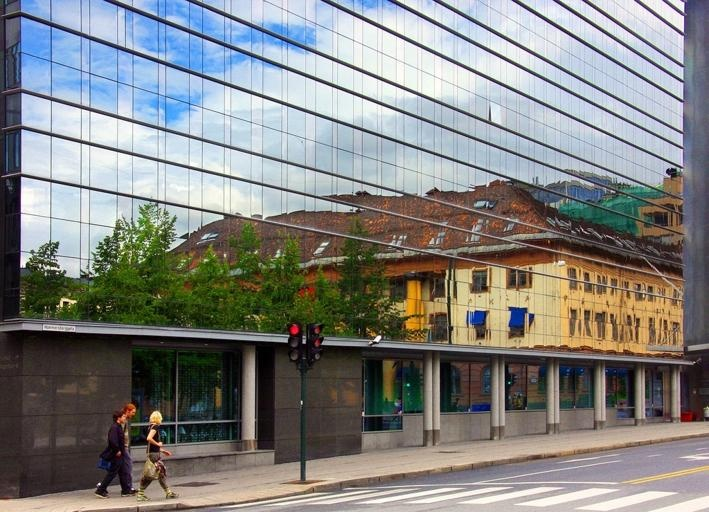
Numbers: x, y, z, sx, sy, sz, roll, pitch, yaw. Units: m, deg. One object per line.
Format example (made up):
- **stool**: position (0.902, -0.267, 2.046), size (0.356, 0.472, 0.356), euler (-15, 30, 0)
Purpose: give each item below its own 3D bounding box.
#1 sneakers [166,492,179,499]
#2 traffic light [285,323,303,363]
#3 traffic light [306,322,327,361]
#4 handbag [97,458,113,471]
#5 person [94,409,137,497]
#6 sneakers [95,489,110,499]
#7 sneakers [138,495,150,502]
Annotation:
- **sneakers**: position (-6.195, 8.113, 34.302), size (0.456, 0.191, 0.148), euler (3, -3, -32)
- **traffic light**: position (-2.159, 3.189, 37.034), size (0.478, 1.475, 1.054), euler (-2, -10, -6)
- **traffic light**: position (-1.476, 3.169, 37.265), size (0.618, 1.527, 0.972), euler (-2, -10, -4)
- **handbag**: position (-8.530, 7.063, 34.481), size (0.539, 0.454, 0.301), euler (-4, -10, 7)
- **person**: position (-8.208, 6.725, 34.882), size (1.142, 2.994, 1.213), euler (0, -10, -14)
- **sneakers**: position (-8.653, 8.128, 34.616), size (0.540, 0.243, 0.197), euler (7, 0, 0)
- **sneakers**: position (-7.035, 8.089, 33.878), size (0.440, 0.183, 0.146), euler (4, -4, -9)
